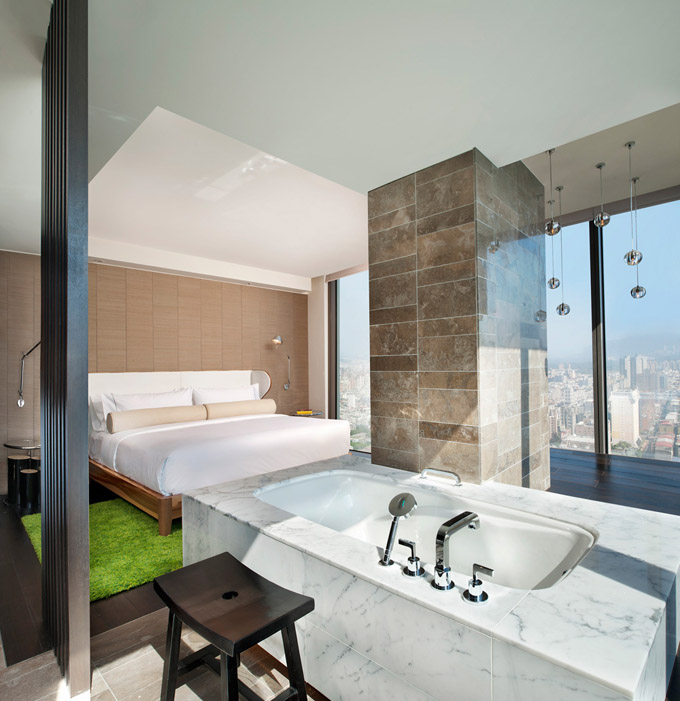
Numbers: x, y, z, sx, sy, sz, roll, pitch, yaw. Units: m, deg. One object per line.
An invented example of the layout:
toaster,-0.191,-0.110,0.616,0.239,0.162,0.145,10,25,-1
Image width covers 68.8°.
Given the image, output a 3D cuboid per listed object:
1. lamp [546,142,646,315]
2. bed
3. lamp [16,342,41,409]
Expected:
lamp,2.227,-1.027,4.156,1.022,1.725,0.318,1,1,37
bed,-1.298,0.706,4.428,1.514,0.869,1.498,1,-5,-41
lamp,-2.969,0.231,4.660,0.209,0.672,0.109,-3,2,-37
